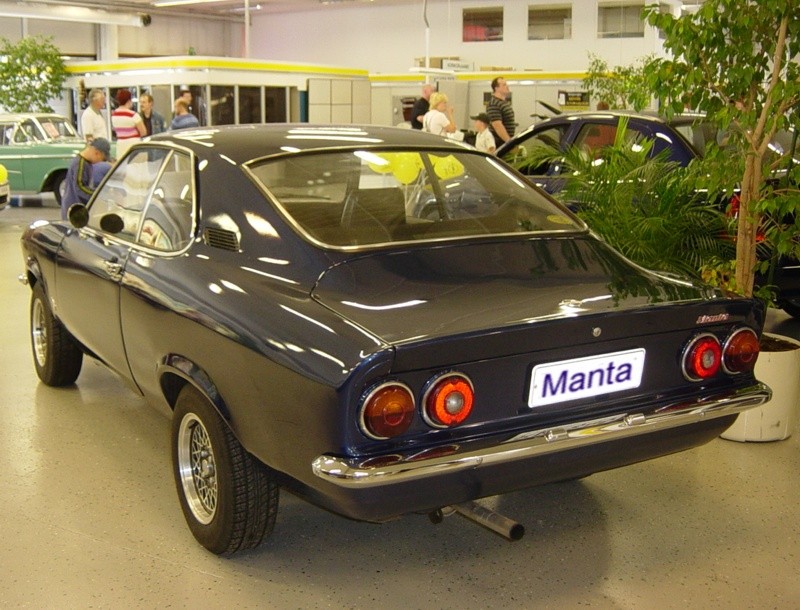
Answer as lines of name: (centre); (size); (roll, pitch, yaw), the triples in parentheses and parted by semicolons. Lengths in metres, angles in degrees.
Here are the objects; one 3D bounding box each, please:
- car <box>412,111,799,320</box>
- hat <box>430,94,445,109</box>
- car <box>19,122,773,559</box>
car: (1.936, -1.077, 6.035); (1.643, 1.531, 3.361); (-10, 21, -34)
hat: (0.690, -3.667, 10.851); (0.269, 0.274, 0.510); (0, 12, 0)
car: (-0.490, 0.026, 2.882); (1.696, 1.125, 3.097); (-7, 20, -37)
